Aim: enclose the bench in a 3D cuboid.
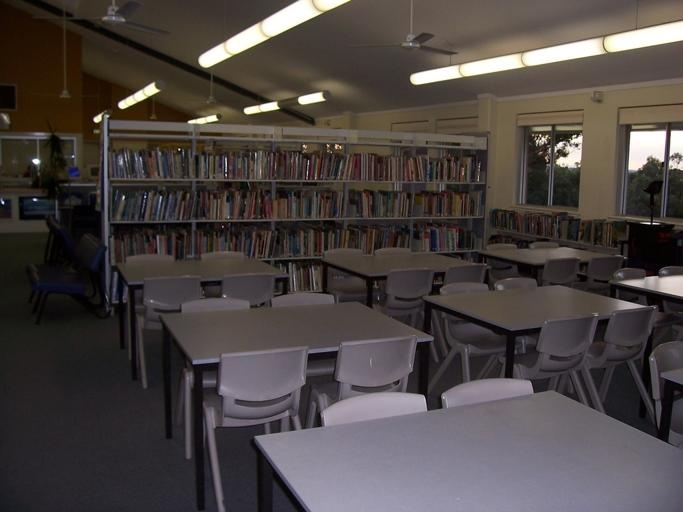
[{"bbox_3d":[-4.053,0.197,7.893,0.853,1.071,1.496,-2,12,-27],"label":"bench"}]
